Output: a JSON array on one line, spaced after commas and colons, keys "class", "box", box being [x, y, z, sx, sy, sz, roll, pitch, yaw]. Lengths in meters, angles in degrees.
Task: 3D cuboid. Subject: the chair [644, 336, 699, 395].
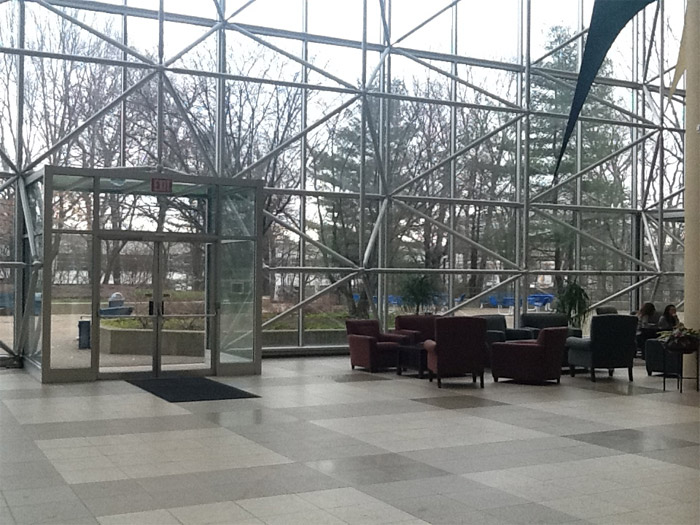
[{"class": "chair", "box": [6.080, 1.984, 13.422, 0.889, 1.193, 0.813, 2, 0, -38]}]

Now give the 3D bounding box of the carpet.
[{"class": "carpet", "box": [-2.743, 2.159, 11.871, 1.450, 0.088, 2.637, 0, 2, -35]}]

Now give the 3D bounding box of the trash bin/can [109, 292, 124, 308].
[{"class": "trash bin/can", "box": [-4.237, 0.689, 12.653, 0.241, 0.390, 0.276, 5, -5, -34]}]
